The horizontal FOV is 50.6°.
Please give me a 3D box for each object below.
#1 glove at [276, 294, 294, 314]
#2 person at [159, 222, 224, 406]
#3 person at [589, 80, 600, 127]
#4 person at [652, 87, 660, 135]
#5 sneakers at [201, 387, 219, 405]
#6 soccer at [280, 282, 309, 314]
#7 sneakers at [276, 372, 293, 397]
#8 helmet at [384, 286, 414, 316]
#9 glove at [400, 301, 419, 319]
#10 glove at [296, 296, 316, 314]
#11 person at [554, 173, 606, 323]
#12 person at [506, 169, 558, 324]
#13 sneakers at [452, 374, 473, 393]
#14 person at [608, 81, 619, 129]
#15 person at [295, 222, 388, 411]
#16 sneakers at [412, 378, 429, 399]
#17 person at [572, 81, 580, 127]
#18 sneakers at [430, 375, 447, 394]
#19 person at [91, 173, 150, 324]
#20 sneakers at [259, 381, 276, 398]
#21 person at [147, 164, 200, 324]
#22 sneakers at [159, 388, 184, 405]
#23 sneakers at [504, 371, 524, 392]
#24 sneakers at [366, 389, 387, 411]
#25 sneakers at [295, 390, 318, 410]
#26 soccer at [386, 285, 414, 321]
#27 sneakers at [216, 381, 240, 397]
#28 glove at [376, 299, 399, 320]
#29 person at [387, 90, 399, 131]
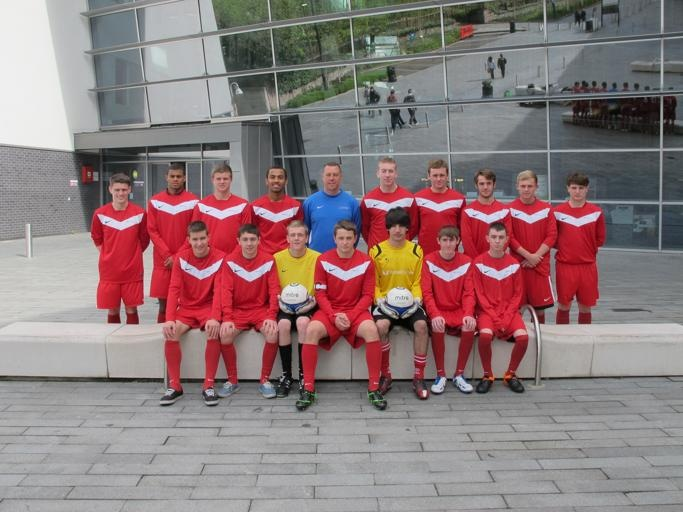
[{"bbox_3d":[-0.713,0.623,9.108,0.172,0.226,0.225,1,52,-6],"label":"glove"},{"bbox_3d":[-1.861,0.662,8.999,0.752,2.106,1.076,-3,10,5],"label":"person"},{"bbox_3d":[6.748,-4.100,19.283,0.231,0.975,0.153,1,11,22],"label":"person"},{"bbox_3d":[8.130,-3.591,18.621,0.302,1.024,0.085,2,12,31],"label":"person"},{"bbox_3d":[-1.580,1.676,8.753,0.196,0.170,0.279,-6,10,-13],"label":"sneakers"},{"bbox_3d":[-0.603,0.536,9.224,0.325,0.297,0.360,-4,-5,1],"label":"soccer"},{"bbox_3d":[-0.715,1.569,8.977,0.181,0.246,0.353,-3,10,2],"label":"sneakers"},{"bbox_3d":[0.724,0.564,8.988,0.299,0.267,0.339,3,11,2],"label":"helmet"},{"bbox_3d":[0.877,0.678,9.077,0.223,0.088,0.172,-41,15,-16],"label":"glove"},{"bbox_3d":[-0.452,0.629,9.126,0.239,0.210,0.183,4,-16,-6],"label":"glove"},{"bbox_3d":[3.323,-0.062,10.094,0.671,2.138,0.492,-1,10,12],"label":"person"},{"bbox_3d":[2.675,0.095,10.244,0.743,2.496,0.677,1,14,20],"label":"person"},{"bbox_3d":[1.504,1.586,8.965,0.122,0.136,0.289,0,7,-24],"label":"sneakers"},{"bbox_3d":[7.174,-4.039,19.083,0.199,0.961,0.181,0,11,20],"label":"person"},{"bbox_3d":[-0.033,0.828,8.891,0.977,1.789,0.889,-4,10,0],"label":"person"},{"bbox_3d":[0.984,1.607,8.880,0.191,0.202,0.308,-3,10,0],"label":"sneakers"},{"bbox_3d":[6.306,-4.065,19.414,0.226,1.097,0.092,-1,10,14],"label":"person"},{"bbox_3d":[1.191,1.591,8.935,0.100,0.112,0.283,2,10,13],"label":"sneakers"},{"bbox_3d":[-3.145,-0.075,10.302,0.785,2.111,0.393,-6,10,-16],"label":"person"},{"bbox_3d":[-0.906,1.640,8.886,0.123,0.101,0.251,0,-3,-32],"label":"sneakers"},{"bbox_3d":[-2.418,-0.073,10.428,0.785,2.374,0.651,-1,19,-16],"label":"person"},{"bbox_3d":[-2.063,1.679,8.756,0.160,0.156,0.349,2,11,28],"label":"sneakers"},{"bbox_3d":[2.143,1.569,9.027,0.135,0.129,0.302,-25,7,-7],"label":"sneakers"},{"bbox_3d":[0.412,1.708,8.643,0.125,0.132,0.289,1,-3,-26],"label":"sneakers"},{"bbox_3d":[-0.436,1.694,8.644,0.189,0.180,0.302,-1,10,11],"label":"sneakers"},{"bbox_3d":[0.734,0.588,8.991,0.311,0.291,0.365,0,12,-3],"label":"soccer"},{"bbox_3d":[-1.402,1.626,8.945,0.265,0.145,0.250,-5,10,-11],"label":"sneakers"},{"bbox_3d":[0.576,0.674,9.081,0.253,0.122,0.202,23,1,14],"label":"glove"},{"bbox_3d":[1.522,-4.216,21.198,0.348,1.181,0.084,-2,10,10],"label":"person"}]
